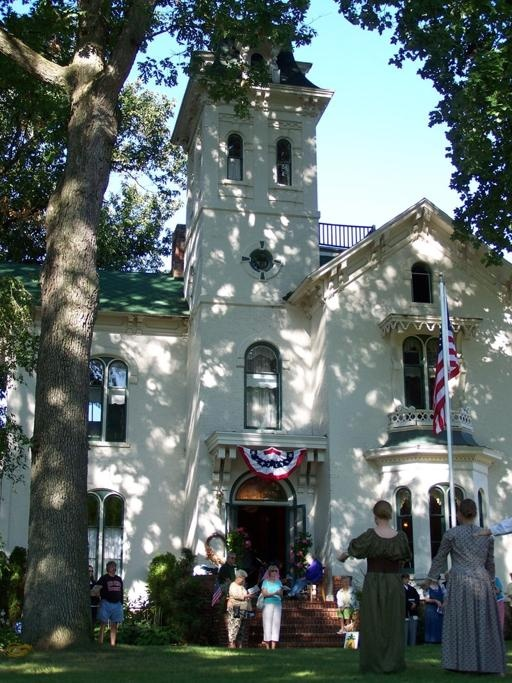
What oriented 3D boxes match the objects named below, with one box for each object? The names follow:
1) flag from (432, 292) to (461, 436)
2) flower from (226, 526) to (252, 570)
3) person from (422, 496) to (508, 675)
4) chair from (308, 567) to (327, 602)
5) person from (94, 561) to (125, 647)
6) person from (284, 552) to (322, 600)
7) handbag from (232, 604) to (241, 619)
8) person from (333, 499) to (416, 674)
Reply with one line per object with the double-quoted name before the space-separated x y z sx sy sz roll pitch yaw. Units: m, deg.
"flag" 4.265 0.460 16.957 0.540 3.271 0.315 -7 -33 20
"flower" -0.508 5.088 19.026 0.429 0.944 0.388 -13 29 -13
"person" 1.937 2.205 6.927 0.557 1.507 0.699 12 -19 -38
"chair" 1.567 5.997 18.598 0.556 0.821 0.566 14 -23 -35
"person" -2.689 4.776 13.874 0.484 1.420 0.995 3 -15 -10
"person" 1.188 5.684 18.293 0.823 0.869 1.366 -1 -15 4
"handbag" -0.369 5.032 14.179 0.144 0.229 0.229 -2 -15 6
"person" 1.146 2.317 7.026 0.563 1.345 0.441 -2 -15 7
